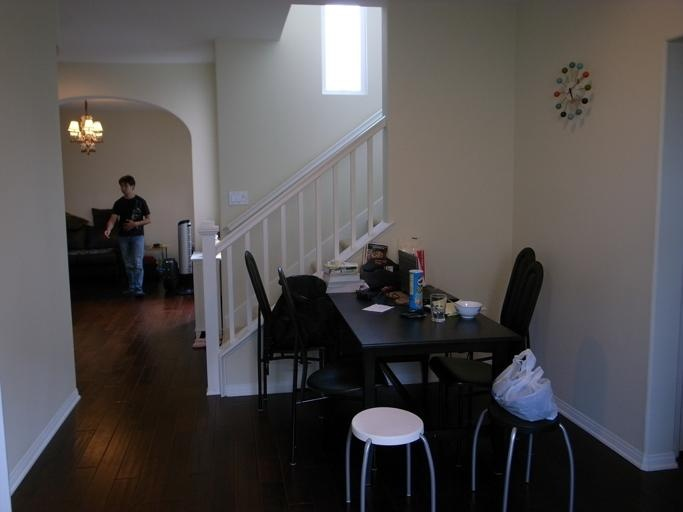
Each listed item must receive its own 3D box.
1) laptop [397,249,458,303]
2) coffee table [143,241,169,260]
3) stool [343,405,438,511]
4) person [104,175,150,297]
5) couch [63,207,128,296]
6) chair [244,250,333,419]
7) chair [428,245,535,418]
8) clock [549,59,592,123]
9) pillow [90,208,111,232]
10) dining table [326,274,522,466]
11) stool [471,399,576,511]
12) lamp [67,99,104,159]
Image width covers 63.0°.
[{"bbox_3d":[0.615,0.089,4.210,0.297,0.415,0.569,-2,9,-10],"label":"laptop"},{"bbox_3d":[-3.090,-0.133,9.280,0.418,0.304,0.312,-1,23,-12],"label":"coffee table"},{"bbox_3d":[0.262,1.106,3.036,0.514,0.594,0.685,-2,9,8],"label":"stool"},{"bbox_3d":[-2.797,-0.264,7.476,0.629,1.597,0.367,3,10,33],"label":"person"},{"bbox_3d":[-3.553,-0.012,8.076,1.105,0.930,0.617,-2,6,-16],"label":"couch"},{"bbox_3d":[-0.370,0.547,4.243,0.643,1.153,0.732,2,-6,3],"label":"chair"},{"bbox_3d":[1.051,0.505,3.979,0.535,1.105,0.564,2,9,-33],"label":"chair"},{"bbox_3d":[1.613,-1.131,3.844,0.090,0.349,0.333,-1,35,-18],"label":"clock"},{"bbox_3d":[-3.984,-0.631,9.215,0.352,0.405,0.138,0,-6,-12],"label":"pillow"},{"bbox_3d":[0.443,0.779,4.060,0.990,0.879,1.679,-1,8,-11],"label":"dining table"},{"bbox_3d":[1.046,1.168,3.203,0.442,0.660,0.471,-4,12,-13],"label":"stool"},{"bbox_3d":[-3.496,-1.742,7.672,0.406,0.721,0.461,-1,4,11],"label":"lamp"}]
